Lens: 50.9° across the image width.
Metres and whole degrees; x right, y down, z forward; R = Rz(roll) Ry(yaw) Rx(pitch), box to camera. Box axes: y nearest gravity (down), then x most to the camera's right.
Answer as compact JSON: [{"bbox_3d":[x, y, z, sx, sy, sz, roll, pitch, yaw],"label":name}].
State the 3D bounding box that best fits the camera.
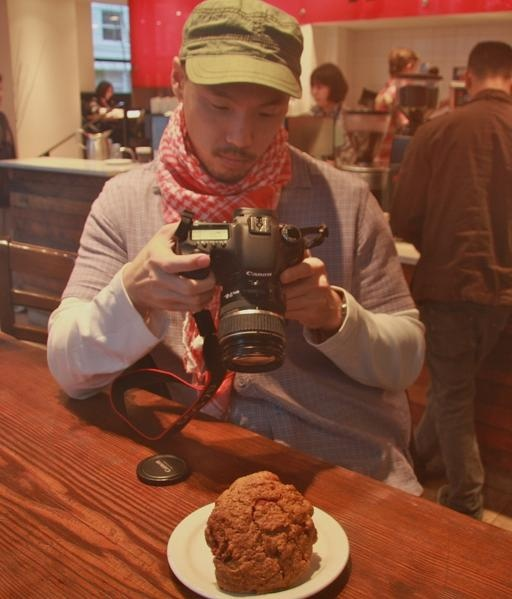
[{"bbox_3d":[-0.006,-0.027,0.708,0.185,0.232,0.079,2,-20,-6],"label":"camera"}]
